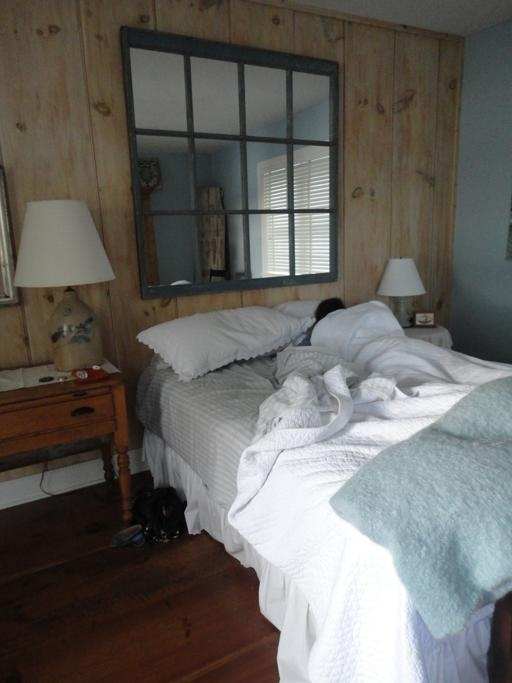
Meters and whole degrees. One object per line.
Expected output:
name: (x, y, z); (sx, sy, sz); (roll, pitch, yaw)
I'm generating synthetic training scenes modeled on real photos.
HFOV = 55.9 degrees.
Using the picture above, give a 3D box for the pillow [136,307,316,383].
pillow: (-0.120, -0.025, 2.189); (0.521, 0.119, 0.377); (-12, 34, -33)

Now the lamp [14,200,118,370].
lamp: (-0.711, -0.194, 1.804); (0.267, 0.649, 0.308); (6, 13, 42)

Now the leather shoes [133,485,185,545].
leather shoes: (-0.392, 0.693, 1.952); (0.138, 0.067, 0.191); (-3, 13, -18)

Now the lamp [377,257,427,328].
lamp: (0.936, -0.323, 3.128); (0.279, 0.474, 0.300); (-10, 19, -6)
